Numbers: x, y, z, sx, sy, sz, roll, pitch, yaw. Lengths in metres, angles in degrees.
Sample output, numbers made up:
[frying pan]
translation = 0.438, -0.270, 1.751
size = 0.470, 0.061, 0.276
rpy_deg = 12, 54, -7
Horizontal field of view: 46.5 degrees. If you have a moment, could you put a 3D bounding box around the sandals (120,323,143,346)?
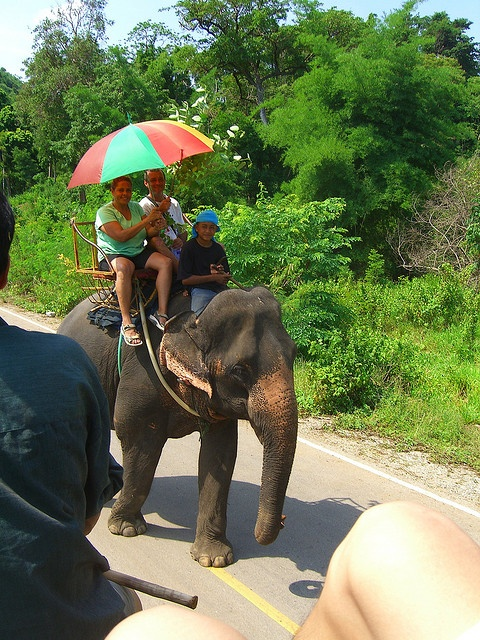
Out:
[sandals]
translation = -0.681, 0.100, 3.502
size = 0.078, 0.093, 0.209
rpy_deg = -3, 14, -26

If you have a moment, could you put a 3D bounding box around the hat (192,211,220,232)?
[hat]
translation = -0.225, -0.650, 3.650
size = 0.131, 0.072, 0.101
rpy_deg = 2, 4, 34

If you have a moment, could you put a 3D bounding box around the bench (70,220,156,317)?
[bench]
translation = -0.855, -0.355, 3.954
size = 0.651, 0.599, 0.405
rpy_deg = -26, 1, 45

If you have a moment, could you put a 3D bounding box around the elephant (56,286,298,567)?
[elephant]
translation = -0.567, 0.600, 3.913
size = 0.889, 1.763, 2.501
rpy_deg = 1, 5, -45

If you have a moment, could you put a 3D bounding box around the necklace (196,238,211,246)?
[necklace]
translation = -0.234, -0.514, 3.698
size = 0.049, 0.055, 0.063
rpy_deg = 7, -9, -34
